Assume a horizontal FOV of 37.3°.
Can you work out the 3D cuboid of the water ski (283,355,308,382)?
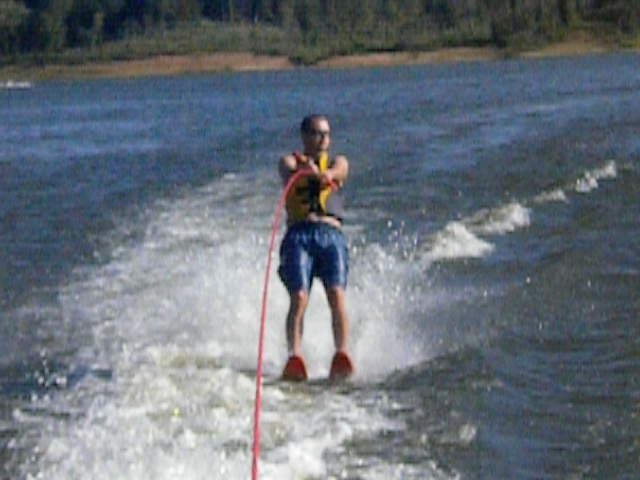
[{"bbox_3d":[-0.161,0.838,6.209,0.154,0.195,0.121,0,7,0],"label":"water ski"}]

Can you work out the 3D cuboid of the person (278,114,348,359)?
[{"bbox_3d":[-0.036,0.010,6.515,0.504,1.374,1.205,1,30,-3],"label":"person"}]

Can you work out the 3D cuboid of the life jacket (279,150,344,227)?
[{"bbox_3d":[-0.045,-0.377,6.535,0.458,0.546,0.373,2,0,13],"label":"life jacket"}]

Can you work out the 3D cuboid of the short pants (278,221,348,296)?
[{"bbox_3d":[-0.077,0.072,6.593,0.544,0.419,0.744,4,55,-4],"label":"short pants"}]
